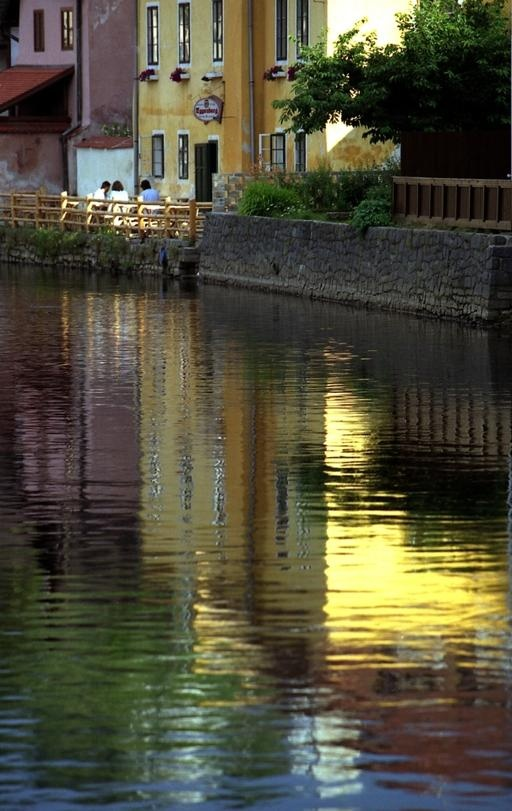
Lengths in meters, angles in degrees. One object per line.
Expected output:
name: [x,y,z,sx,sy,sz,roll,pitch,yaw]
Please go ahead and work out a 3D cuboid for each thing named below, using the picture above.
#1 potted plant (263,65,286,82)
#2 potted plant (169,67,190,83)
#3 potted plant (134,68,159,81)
potted plant: [0.428,-7.791,39.578,0.386,0.369,1.556,-1,8,-8]
potted plant: [-1.977,-8.700,44.620,0.366,0.475,0.248,2,-1,2]
potted plant: [-2.942,-9.123,46.847,0.371,0.317,0.407,-6,5,-25]
